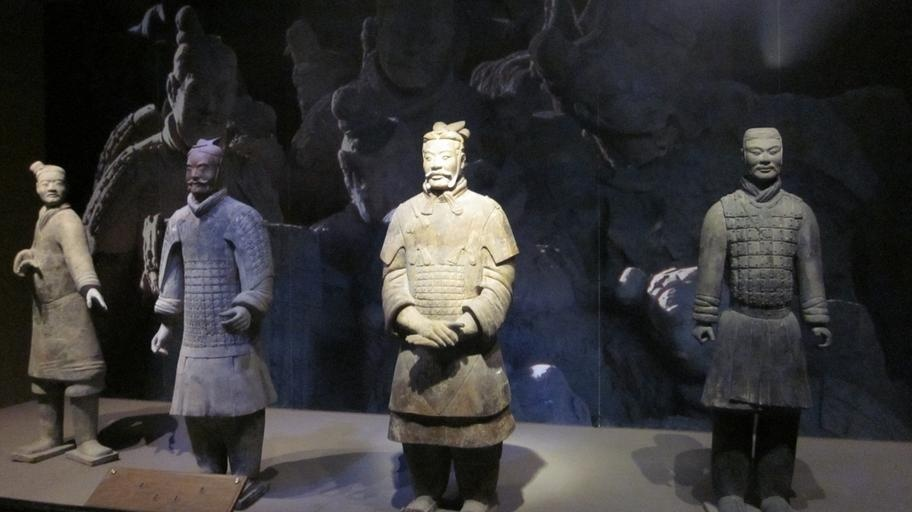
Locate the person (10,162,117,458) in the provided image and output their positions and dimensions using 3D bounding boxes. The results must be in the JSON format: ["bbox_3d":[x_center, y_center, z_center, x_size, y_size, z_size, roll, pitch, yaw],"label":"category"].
[{"bbox_3d":[-4.371,0.624,12.391,1.063,3.300,0.517,2,-4,2],"label":"person"}]
